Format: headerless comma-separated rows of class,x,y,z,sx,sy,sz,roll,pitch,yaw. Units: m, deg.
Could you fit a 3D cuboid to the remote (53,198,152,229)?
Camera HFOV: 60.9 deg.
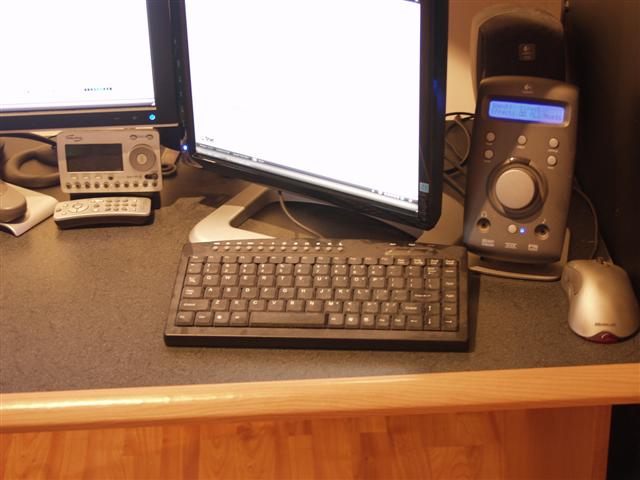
remote,-0.410,-0.050,1.042,0.169,0.041,0.075,1,38,-5

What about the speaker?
speaker,0.372,-0.362,1.125,0.247,0.239,0.149,3,23,12
